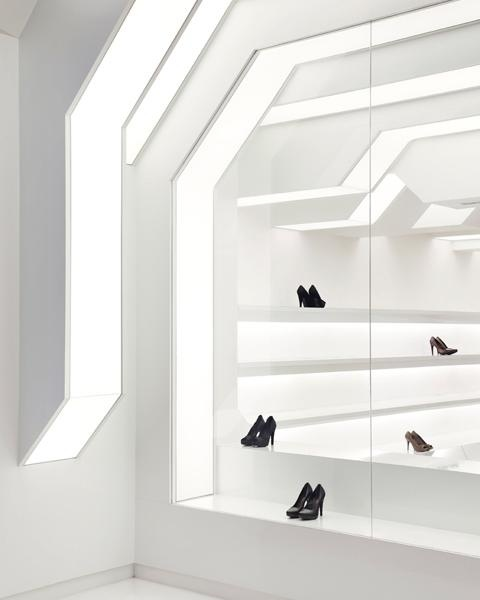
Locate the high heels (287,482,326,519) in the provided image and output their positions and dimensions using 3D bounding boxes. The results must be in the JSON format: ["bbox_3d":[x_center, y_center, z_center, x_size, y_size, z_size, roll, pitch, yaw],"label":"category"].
[{"bbox_3d":[0.309,0.928,2.449,0.118,0.139,0.161,-13,-12,41],"label":"high heels"}]

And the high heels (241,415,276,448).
[{"bbox_3d":[0.098,0.688,2.817,0.128,0.155,0.162,-9,-13,44],"label":"high heels"}]

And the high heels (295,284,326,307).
[{"bbox_3d":[0.391,-0.020,2.932,0.089,0.115,0.136,-2,-8,30],"label":"high heels"}]

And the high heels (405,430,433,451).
[{"bbox_3d":[0.721,0.568,2.134,0.102,0.088,0.038,-5,-17,24],"label":"high heels"}]
